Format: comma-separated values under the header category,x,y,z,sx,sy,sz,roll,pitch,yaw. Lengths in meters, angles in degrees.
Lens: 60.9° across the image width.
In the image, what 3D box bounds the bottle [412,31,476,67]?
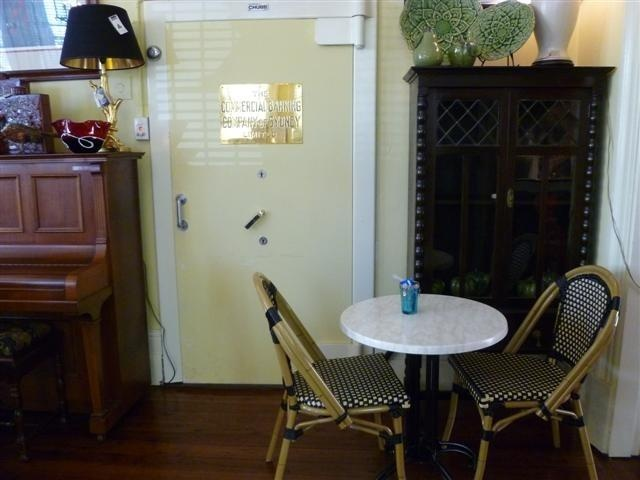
category,x,y,z,sx,sy,sz,roll,pitch,yaw
bottle,0.715,-1.089,3.125,0.337,0.205,0.264,-10,15,-36

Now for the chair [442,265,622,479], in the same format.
category,x,y,z,sx,sy,sz,roll,pitch,yaw
chair,1.088,0.662,2.823,0.770,1.013,0.516,-3,13,-9

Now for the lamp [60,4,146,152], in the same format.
category,x,y,z,sx,sy,sz,roll,pitch,yaw
lamp,-1.330,-0.983,3.358,0.487,0.858,0.338,-5,13,-13

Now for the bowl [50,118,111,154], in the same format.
category,x,y,z,sx,sy,sz,roll,pitch,yaw
bowl,-1.413,-0.615,3.236,0.326,0.199,0.279,-6,13,-20
